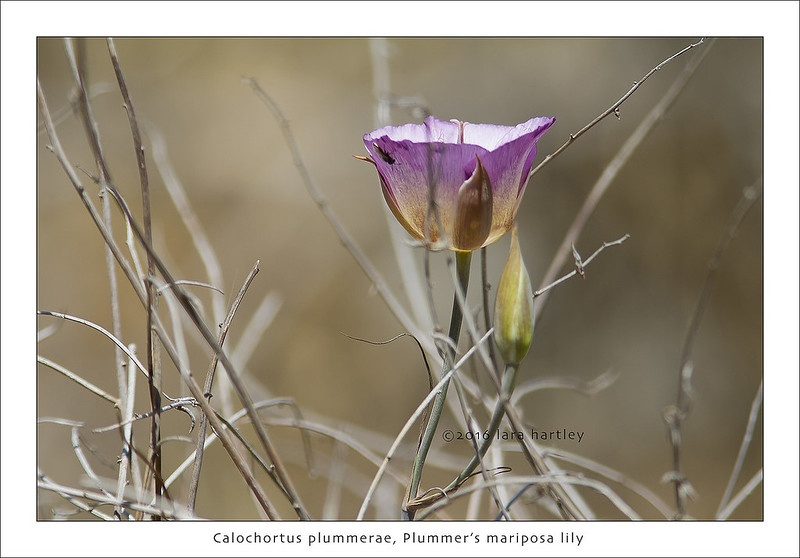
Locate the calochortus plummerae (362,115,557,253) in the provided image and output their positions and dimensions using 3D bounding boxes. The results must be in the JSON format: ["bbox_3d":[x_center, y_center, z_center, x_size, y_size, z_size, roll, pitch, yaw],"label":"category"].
[{"bbox_3d":[0.071,-0.117,1.124,0.216,0.261,0.164,2,-72,8],"label":"calochortus plummerae"}]
